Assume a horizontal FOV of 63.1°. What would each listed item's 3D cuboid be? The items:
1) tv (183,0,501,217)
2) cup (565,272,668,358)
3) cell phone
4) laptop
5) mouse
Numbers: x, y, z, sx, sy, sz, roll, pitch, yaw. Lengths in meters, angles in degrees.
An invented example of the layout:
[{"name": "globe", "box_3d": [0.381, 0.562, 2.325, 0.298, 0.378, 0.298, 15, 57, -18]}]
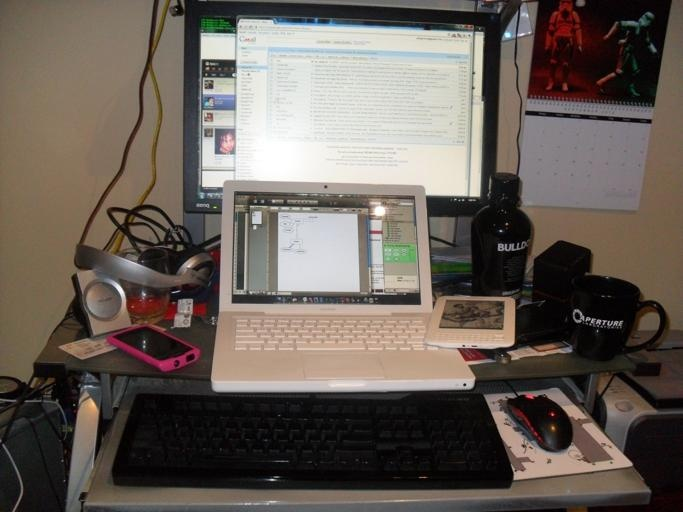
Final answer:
[{"name": "tv", "box_3d": [-0.023, -0.355, 1.303, 0.543, 0.364, 0.012, 1, 10, -3]}, {"name": "cup", "box_3d": [0.601, 0.123, 1.206, 0.219, 0.164, 0.140, 1, 11, -1]}, {"name": "cell phone", "box_3d": [-0.378, 0.161, 1.105, 0.155, 0.025, 0.087, 18, 23, 36]}, {"name": "laptop", "box_3d": [-0.032, 0.073, 1.169, 0.502, 0.310, 0.442, -1, 35, -6]}, {"name": "mouse", "box_3d": [0.383, 0.304, 1.074, 0.067, 0.039, 0.121, -11, 34, -12]}]
